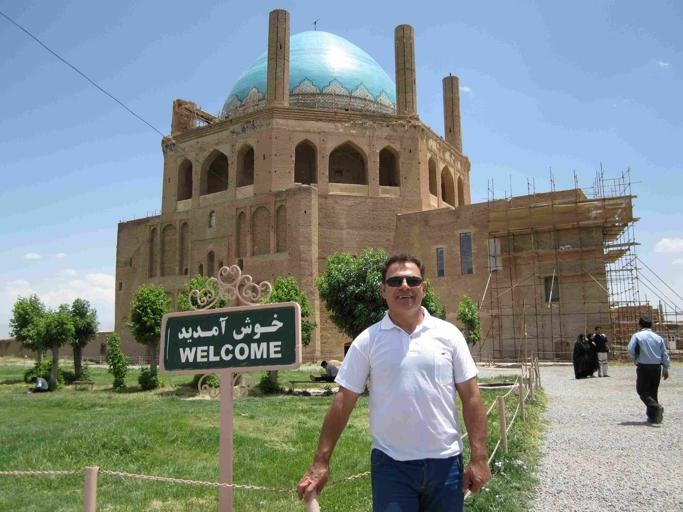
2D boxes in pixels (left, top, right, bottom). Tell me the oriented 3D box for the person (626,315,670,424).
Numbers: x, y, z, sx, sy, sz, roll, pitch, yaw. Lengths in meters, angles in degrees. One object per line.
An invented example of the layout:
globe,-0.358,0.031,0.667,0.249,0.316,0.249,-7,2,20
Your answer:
person,5.833,2.159,12.228,0.677,1.994,1.020,-4,-10,27

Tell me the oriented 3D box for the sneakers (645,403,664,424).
sneakers,5.802,2.946,11.904,0.169,0.483,0.196,1,-3,10

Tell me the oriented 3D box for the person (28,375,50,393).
person,-11.288,4.839,24.050,0.681,0.756,0.689,-2,-2,16

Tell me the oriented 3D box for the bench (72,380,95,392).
bench,-9.950,5.011,24.865,0.699,0.302,1.670,4,-11,-21

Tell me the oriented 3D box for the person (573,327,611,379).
person,8.144,3.193,20.991,0.928,1.578,1.461,-6,-11,32
